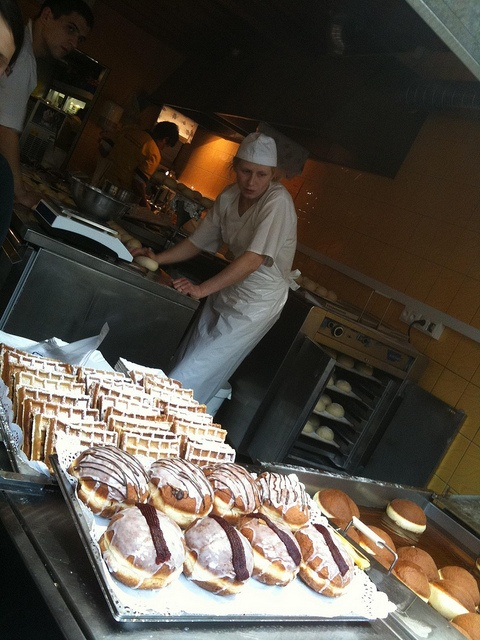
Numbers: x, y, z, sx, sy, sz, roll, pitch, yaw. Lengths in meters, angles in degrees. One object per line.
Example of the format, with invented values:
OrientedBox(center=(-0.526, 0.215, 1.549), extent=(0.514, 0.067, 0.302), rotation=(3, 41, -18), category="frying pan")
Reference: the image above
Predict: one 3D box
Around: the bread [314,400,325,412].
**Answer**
OrientedBox(center=(0.475, 0.502, 2.642), extent=(0.075, 0.064, 0.072), rotation=(0, 15, -10), category="bread")

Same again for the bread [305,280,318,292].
OrientedBox(center=(0.482, -0.228, 3.037), extent=(0.058, 0.036, 0.098), rotation=(17, 15, 13), category="bread")

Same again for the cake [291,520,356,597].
OrientedBox(center=(0.117, 0.329, 0.637), extent=(0.066, 0.028, 0.086), rotation=(5, 30, -24), category="cake")

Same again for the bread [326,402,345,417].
OrientedBox(center=(0.569, 0.520, 2.682), extent=(0.081, 0.049, 0.083), rotation=(13, 8, 43), category="bread")

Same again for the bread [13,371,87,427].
OrientedBox(center=(-0.314, 0.116, 0.722), extent=(0.072, 0.023, 0.071), rotation=(5, 29, -38), category="bread")

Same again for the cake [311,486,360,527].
OrientedBox(center=(0.210, 0.428, 1.025), extent=(0.087, 0.037, 0.114), rotation=(31, 2, -15), category="cake")

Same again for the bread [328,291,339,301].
OrientedBox(center=(0.638, -0.158, 3.076), extent=(0.074, 0.019, 0.069), rotation=(10, 63, -30), category="bread")

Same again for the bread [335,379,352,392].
OrientedBox(center=(0.620, 0.391, 2.693), extent=(0.080, 0.046, 0.063), rotation=(24, 7, -42), category="bread")

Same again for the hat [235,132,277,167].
OrientedBox(center=(0.085, -0.729, 1.959), extent=(0.135, 0.098, 0.181), rotation=(8, 31, -8), category="hat")

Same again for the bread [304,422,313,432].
OrientedBox(center=(0.406, 0.632, 2.671), extent=(0.023, 0.067, 0.071), rotation=(-13, 9, 31), category="bread")

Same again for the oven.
OrientedBox(center=(0.613, 0.463, 2.747), extent=(0.889, 0.915, 1.155), rotation=(19, 9, -14), category="oven")

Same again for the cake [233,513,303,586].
OrientedBox(center=(0.041, 0.288, 0.605), extent=(0.080, 0.052, 0.084), rotation=(20, 10, -38), category="cake")

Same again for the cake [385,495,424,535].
OrientedBox(center=(0.457, 0.522, 1.262), extent=(0.096, 0.053, 0.097), rotation=(24, 5, 42), category="cake")

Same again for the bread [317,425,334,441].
OrientedBox(center=(0.512, 0.676, 2.692), extent=(0.090, 0.059, 0.086), rotation=(1, 25, -6), category="bread")

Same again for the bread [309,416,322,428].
OrientedBox(center=(0.467, 0.610, 2.744), extent=(0.063, 0.036, 0.065), rotation=(63, 21, -14), category="bread")

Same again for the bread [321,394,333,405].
OrientedBox(center=(0.523, 0.476, 2.713), extent=(0.061, 0.033, 0.059), rotation=(22, 34, -48), category="bread")

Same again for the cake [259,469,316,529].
OrientedBox(center=(0.062, 0.286, 0.711), extent=(0.032, 0.079, 0.096), rotation=(-97, 166, -82), category="cake")

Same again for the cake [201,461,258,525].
OrientedBox(center=(-0.009, 0.243, 0.665), extent=(0.071, 0.041, 0.072), rotation=(30, 11, 36), category="cake")

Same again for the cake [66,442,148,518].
OrientedBox(center=(-0.169, 0.205, 0.578), extent=(0.082, 0.045, 0.078), rotation=(17, 17, -28), category="cake")

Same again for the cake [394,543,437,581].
OrientedBox(center=(0.377, 0.511, 0.977), extent=(0.089, 0.047, 0.076), rotation=(0, 13, 14), category="cake")
